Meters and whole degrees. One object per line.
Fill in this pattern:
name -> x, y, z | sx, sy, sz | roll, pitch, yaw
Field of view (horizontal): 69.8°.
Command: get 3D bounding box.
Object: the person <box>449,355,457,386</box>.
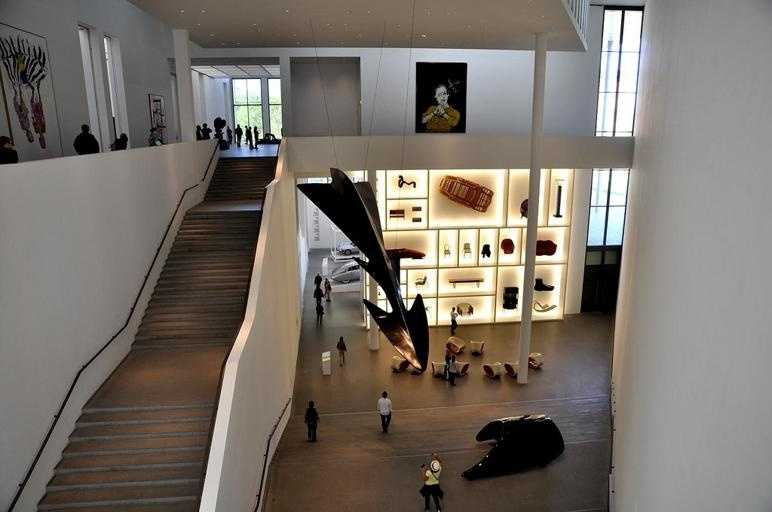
person -> 2.016, 3.485, 16.842 | 0.257, 0.742, 0.676 | -1, 12, 7

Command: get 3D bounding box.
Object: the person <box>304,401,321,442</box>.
person -> -1.919, 4.192, 14.340 | 0.327, 1.154, 0.789 | -5, 12, -9

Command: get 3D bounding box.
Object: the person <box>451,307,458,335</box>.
person -> 2.434, 2.324, 19.995 | 0.291, 0.907, 1.103 | -2, 12, 7

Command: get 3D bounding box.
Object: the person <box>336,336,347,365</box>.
person -> -1.445, 3.007, 17.889 | 0.231, 0.940, 0.849 | -4, 12, -6

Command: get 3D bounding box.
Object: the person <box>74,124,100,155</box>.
person -> -7.185, -2.794, 13.201 | 0.466, 0.735, 1.812 | -9, 13, -27

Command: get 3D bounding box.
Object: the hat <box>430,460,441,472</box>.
hat -> 1.070, 4.627, 12.156 | 0.173, 0.314, 0.272 | -1, 12, 9

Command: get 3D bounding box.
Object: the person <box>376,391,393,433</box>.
person -> -0.022, 4.034, 14.950 | 0.383, 1.128, 1.036 | -3, 12, -1
